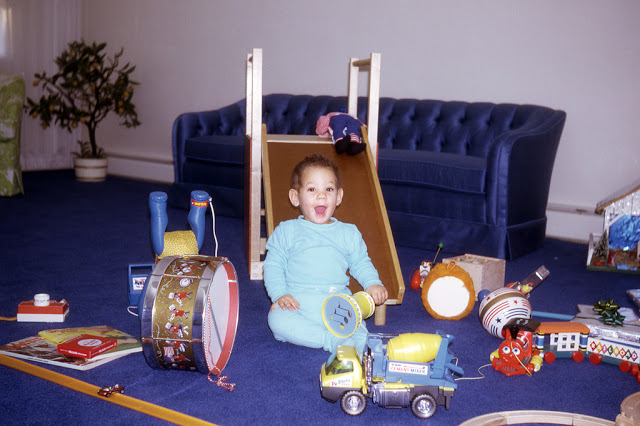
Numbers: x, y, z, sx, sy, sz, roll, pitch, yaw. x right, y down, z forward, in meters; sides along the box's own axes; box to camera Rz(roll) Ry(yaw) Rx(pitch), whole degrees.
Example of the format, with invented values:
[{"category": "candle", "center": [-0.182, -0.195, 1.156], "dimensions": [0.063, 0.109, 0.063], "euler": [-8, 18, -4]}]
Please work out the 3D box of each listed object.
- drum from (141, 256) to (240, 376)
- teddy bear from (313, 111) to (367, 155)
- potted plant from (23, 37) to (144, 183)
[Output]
[{"category": "drum", "center": [-0.675, 0.555, 2.737], "dimensions": [0.301, 0.612, 0.555], "euler": [1, -3, 21]}, {"category": "teddy bear", "center": [0.161, -0.593, 3.935], "dimensions": [0.280, 0.309, 0.501], "euler": [-1, 10, -11]}, {"category": "potted plant", "center": [-3.007, -1.290, 6.670], "dimensions": [1.313, 1.800, 0.979], "euler": [0, 3, -15]}]
